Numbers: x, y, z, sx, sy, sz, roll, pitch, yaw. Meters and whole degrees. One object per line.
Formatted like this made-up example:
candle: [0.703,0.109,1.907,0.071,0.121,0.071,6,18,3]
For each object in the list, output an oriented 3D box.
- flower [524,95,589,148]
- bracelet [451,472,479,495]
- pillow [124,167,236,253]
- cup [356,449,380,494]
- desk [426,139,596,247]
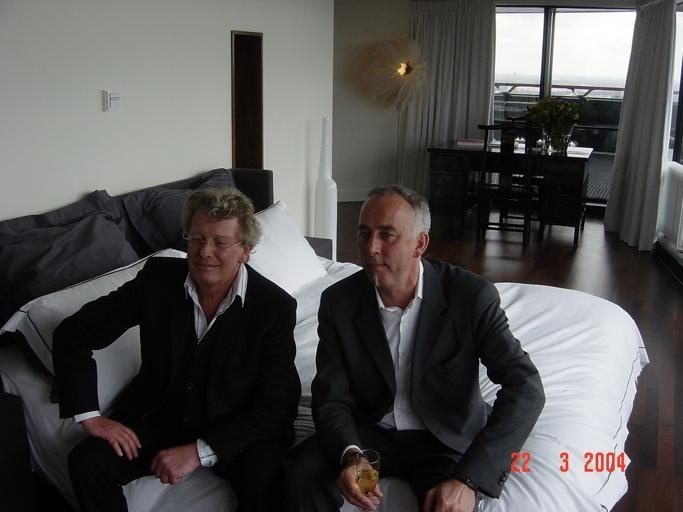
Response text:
flower: [2.600,-1.619,5.877,0.592,0.679,0.605,-15,16,-38]
bracelet: [0.367,0.689,1.480,0.053,0.028,0.074,42,-6,-24]
pillow: [-1.052,-0.285,3.102,0.168,0.556,0.590,-7,13,41]
cup: [0.076,0.644,1.445,0.071,0.131,0.075,-2,6,0]
desk: [2.044,-0.748,6.279,1.677,1.141,1.014,8,2,21]
